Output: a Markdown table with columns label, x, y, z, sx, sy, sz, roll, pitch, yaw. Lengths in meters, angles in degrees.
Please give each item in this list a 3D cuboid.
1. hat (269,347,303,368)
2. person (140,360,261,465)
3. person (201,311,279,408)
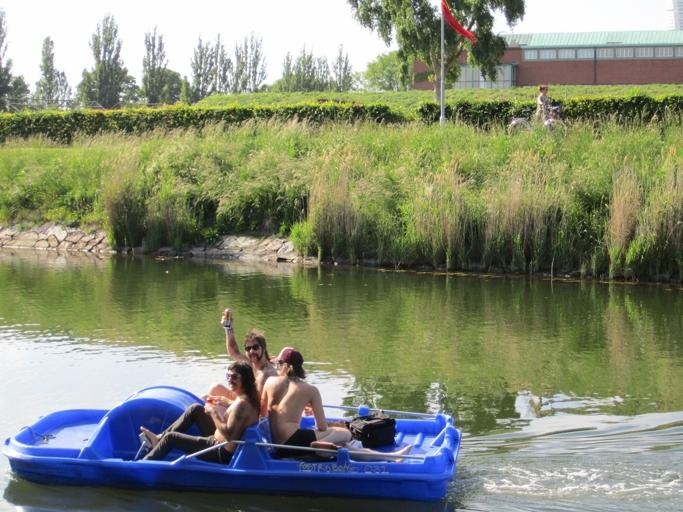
| label | x | y | z | sx | sy | sz | roll | pitch | yaw |
| --- | --- | --- | --- | --- | --- | --- | --- | --- | --- |
| hat | -0.759 | 1.437 | 16.226 | 0.339 | 0.253 | 0.259 | -4 | 2 | 17 |
| person | -2.051 | 2.225 | 16.102 | 1.612 | 1.866 | 0.904 | 5 | 4 | -14 |
| person | -1.482 | 1.499 | 16.941 | 1.281 | 1.945 | 0.765 | -5 | 0 | -44 |
